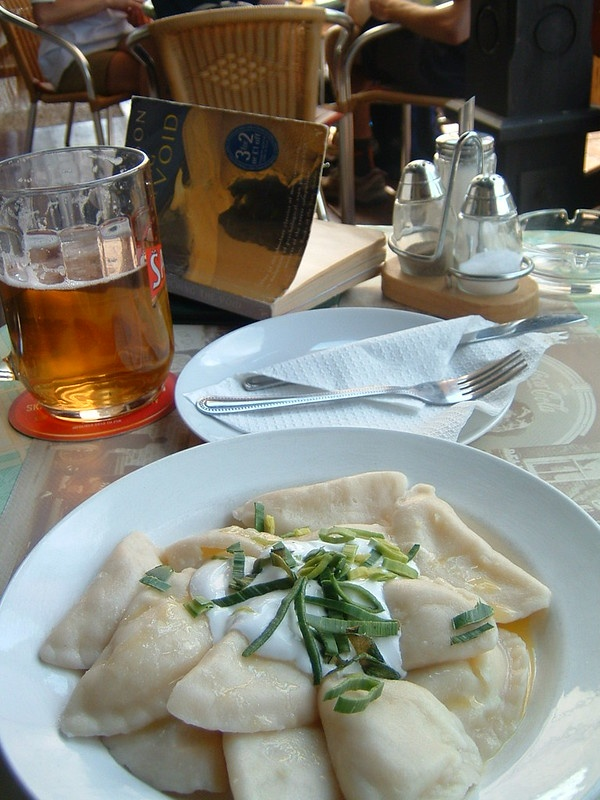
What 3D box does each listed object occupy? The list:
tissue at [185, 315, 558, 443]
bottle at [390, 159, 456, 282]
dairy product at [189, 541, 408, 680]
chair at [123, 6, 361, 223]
[{"bbox_3d":[0.085,-0.026,0.820,0.291,0.028,0.197,-6,29,-16],"label":"tissue"},{"bbox_3d":[0.206,-0.303,1.151,0.138,0.169,0.124,-2,28,10],"label":"bottle"},{"bbox_3d":[0.005,0.134,0.473,0.110,0.029,0.105,12,25,22],"label":"dairy product"},{"bbox_3d":[-0.052,-0.894,2.036,0.616,0.679,0.476,3,54,4],"label":"chair"}]
